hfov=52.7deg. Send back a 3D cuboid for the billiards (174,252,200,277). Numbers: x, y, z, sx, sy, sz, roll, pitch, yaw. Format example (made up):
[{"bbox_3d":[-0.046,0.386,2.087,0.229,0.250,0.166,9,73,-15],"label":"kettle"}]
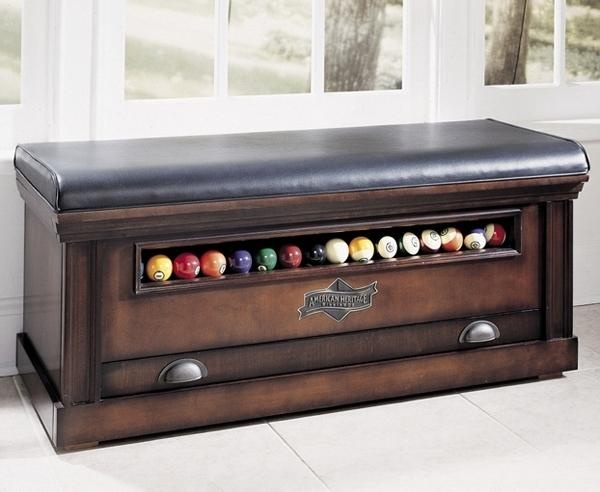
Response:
[{"bbox_3d":[-0.278,0.050,1.532,0.063,0.059,0.058,-11,19,-41],"label":"billiards"}]

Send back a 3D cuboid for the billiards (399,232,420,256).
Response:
[{"bbox_3d":[0.301,-0.005,1.711,0.061,0.058,0.038,-27,4,-41],"label":"billiards"}]

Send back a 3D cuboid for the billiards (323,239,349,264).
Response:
[{"bbox_3d":[0.096,0.012,1.599,0.066,0.070,0.063,-7,10,-1],"label":"billiards"}]

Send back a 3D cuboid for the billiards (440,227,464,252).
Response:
[{"bbox_3d":[0.424,-0.016,1.748,0.068,0.071,0.065,-9,15,-25],"label":"billiards"}]

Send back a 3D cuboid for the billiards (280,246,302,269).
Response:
[{"bbox_3d":[-0.026,0.030,1.555,0.060,0.064,0.058,-1,0,-17],"label":"billiards"}]

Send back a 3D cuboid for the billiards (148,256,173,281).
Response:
[{"bbox_3d":[-0.338,0.050,1.462,0.053,0.049,0.064,5,15,-15],"label":"billiards"}]

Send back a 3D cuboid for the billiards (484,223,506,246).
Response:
[{"bbox_3d":[0.562,-0.035,1.799,0.065,0.066,0.062,-3,-6,-45],"label":"billiards"}]

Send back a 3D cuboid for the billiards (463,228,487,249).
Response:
[{"bbox_3d":[0.495,-0.019,1.725,0.061,0.049,0.041,-11,-23,15],"label":"billiards"}]

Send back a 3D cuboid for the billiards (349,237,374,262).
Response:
[{"bbox_3d":[0.158,0.013,1.679,0.064,0.070,0.063,-23,12,-40],"label":"billiards"}]

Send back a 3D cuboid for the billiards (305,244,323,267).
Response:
[{"bbox_3d":[0.041,0.025,1.587,0.050,0.054,0.050,2,18,10],"label":"billiards"}]

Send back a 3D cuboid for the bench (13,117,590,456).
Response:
[{"bbox_3d":[0.039,0.068,1.800,1.430,0.614,0.558,-4,9,-16],"label":"bench"}]

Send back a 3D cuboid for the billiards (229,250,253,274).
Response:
[{"bbox_3d":[-0.149,0.040,1.521,0.059,0.058,0.060,-8,8,-13],"label":"billiards"}]

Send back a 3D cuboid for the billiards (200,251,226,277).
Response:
[{"bbox_3d":[-0.216,0.045,1.547,0.064,0.068,0.062,-2,7,-21],"label":"billiards"}]

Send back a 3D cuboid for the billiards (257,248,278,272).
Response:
[{"bbox_3d":[-0.087,0.036,1.547,0.059,0.061,0.049,1,8,7],"label":"billiards"}]
